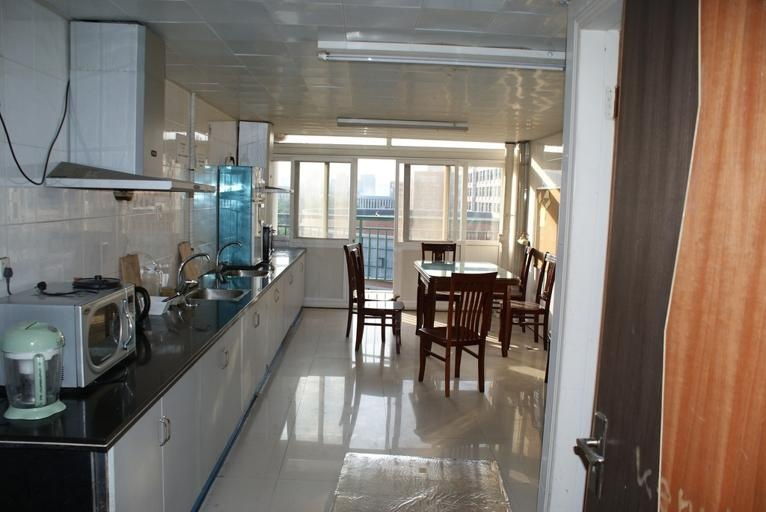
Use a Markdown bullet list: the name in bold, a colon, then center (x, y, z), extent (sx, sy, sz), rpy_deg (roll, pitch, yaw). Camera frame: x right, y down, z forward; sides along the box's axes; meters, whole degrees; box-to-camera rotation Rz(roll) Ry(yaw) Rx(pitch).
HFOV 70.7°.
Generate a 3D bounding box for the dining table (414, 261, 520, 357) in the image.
- **dining table**: center (0.951, 0.617, 6.146), extent (1.043, 0.716, 0.740), rpy_deg (5, -3, 6)

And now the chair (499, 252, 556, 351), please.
- **chair**: center (1.729, 0.526, 6.475), extent (0.725, 1.058, 0.695), rpy_deg (7, 6, 41)

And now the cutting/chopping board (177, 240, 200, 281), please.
- **cutting/chopping board**: center (-1.707, 0.164, 4.794), extent (0.126, 0.494, 0.318), rpy_deg (-6, 38, -16)

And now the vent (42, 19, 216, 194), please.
- **vent**: center (-1.641, -0.841, 3.502), extent (0.719, 0.945, 1.014), rpy_deg (0, 2, -12)

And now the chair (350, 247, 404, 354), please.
- **chair**: center (-0.065, 0.436, 6.507), extent (0.641, 1.215, 1.206), rpy_deg (2, 9, 1)

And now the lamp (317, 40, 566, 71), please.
- **lamp**: center (0.370, -1.238, 3.330), extent (1.525, 0.150, 0.283), rpy_deg (2, 9, -3)

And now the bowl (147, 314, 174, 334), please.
- **bowl**: center (-1.412, 0.430, 3.441), extent (0.081, 0.111, 0.154), rpy_deg (-2, 6, -6)
